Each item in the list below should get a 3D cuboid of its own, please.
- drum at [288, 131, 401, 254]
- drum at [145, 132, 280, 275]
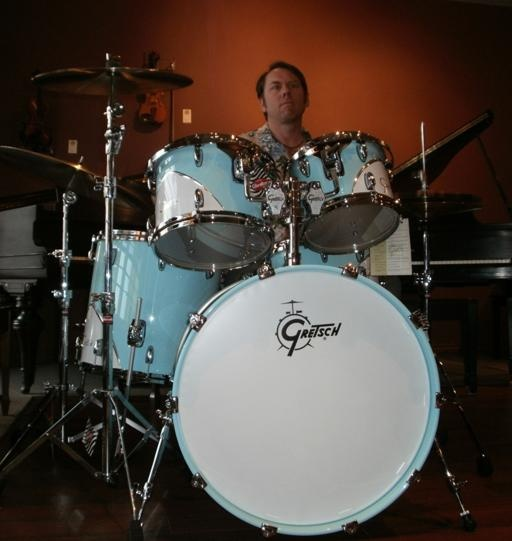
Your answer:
[{"bbox_3d":[0.250,-0.276,1.840,0.362,0.294,0.375,-2,-39,-1],"label":"drum"},{"bbox_3d":[-0.125,-0.218,1.821,0.372,0.288,0.411,-4,-39,4],"label":"drum"}]
